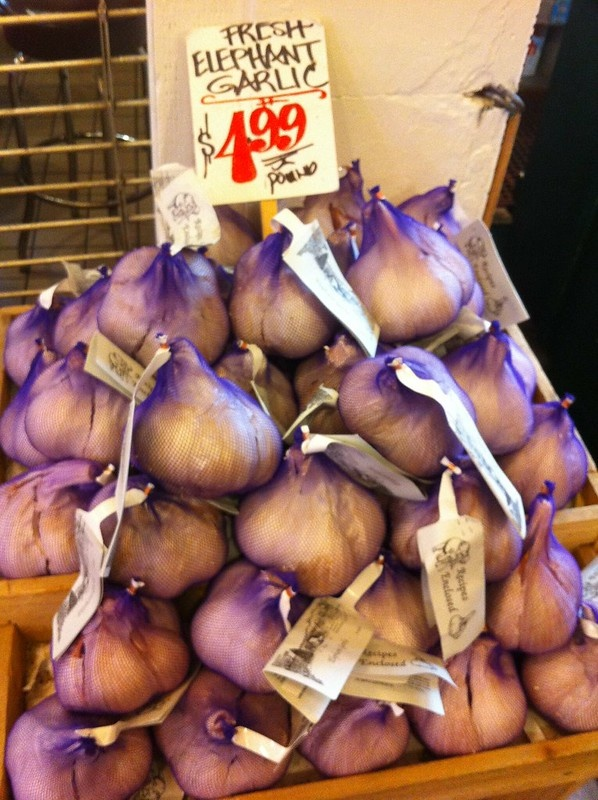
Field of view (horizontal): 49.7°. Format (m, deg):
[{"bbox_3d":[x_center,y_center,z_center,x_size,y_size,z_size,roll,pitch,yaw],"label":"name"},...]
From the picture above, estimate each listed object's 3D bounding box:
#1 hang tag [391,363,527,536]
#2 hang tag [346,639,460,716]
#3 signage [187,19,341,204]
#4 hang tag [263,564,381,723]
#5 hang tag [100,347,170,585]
[{"bbox_3d":[0.192,0.108,0.752,0.020,0.318,0.088,-18,22,33],"label":"hang tag"},{"bbox_3d":[0.115,0.306,0.723,0.106,0.028,0.079,17,59,-2],"label":"hang tag"},{"bbox_3d":[-0.061,-0.463,1.030,0.298,0.333,0.038,-6,10,-9],"label":"signage"},{"bbox_3d":[0.044,0.252,0.738,0.079,0.009,0.248,28,33,18],"label":"hang tag"},{"bbox_3d":[-0.171,0.070,0.661,0.043,0.049,0.296,7,86,10],"label":"hang tag"}]
